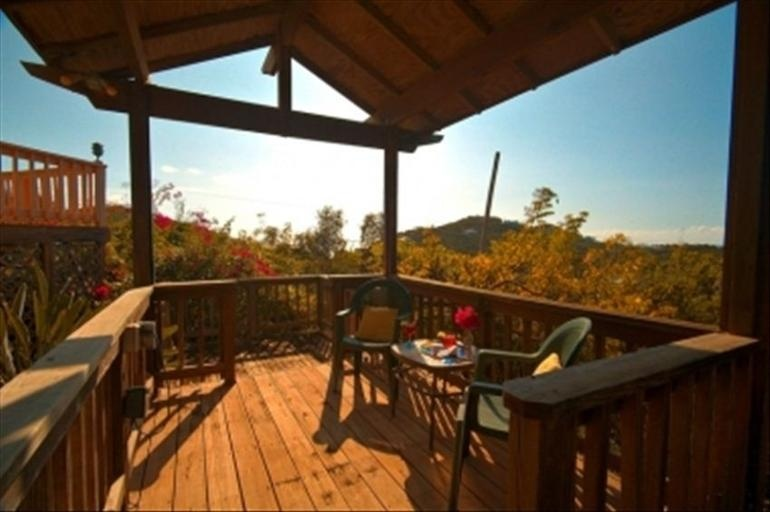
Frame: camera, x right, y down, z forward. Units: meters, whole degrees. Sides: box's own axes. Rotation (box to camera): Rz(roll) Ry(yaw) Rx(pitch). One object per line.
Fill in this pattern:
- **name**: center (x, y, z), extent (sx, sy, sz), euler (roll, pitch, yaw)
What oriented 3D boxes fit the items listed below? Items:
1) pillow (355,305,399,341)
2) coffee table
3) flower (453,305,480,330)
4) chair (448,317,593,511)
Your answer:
- **pillow**: center (-0.109, 0.783, 5.651), extent (0.468, 0.301, 0.415), euler (4, 15, 12)
- **coffee table**: center (0.530, 1.206, 5.032), extent (0.769, 0.773, 0.957), euler (-4, 10, -28)
- **flower**: center (0.823, 0.599, 4.945), extent (0.236, 0.283, 0.260), euler (-8, -6, 41)
- **chair**: center (1.105, 1.327, 4.741), extent (1.300, 2.020, 1.434), euler (1, -1, 2)
